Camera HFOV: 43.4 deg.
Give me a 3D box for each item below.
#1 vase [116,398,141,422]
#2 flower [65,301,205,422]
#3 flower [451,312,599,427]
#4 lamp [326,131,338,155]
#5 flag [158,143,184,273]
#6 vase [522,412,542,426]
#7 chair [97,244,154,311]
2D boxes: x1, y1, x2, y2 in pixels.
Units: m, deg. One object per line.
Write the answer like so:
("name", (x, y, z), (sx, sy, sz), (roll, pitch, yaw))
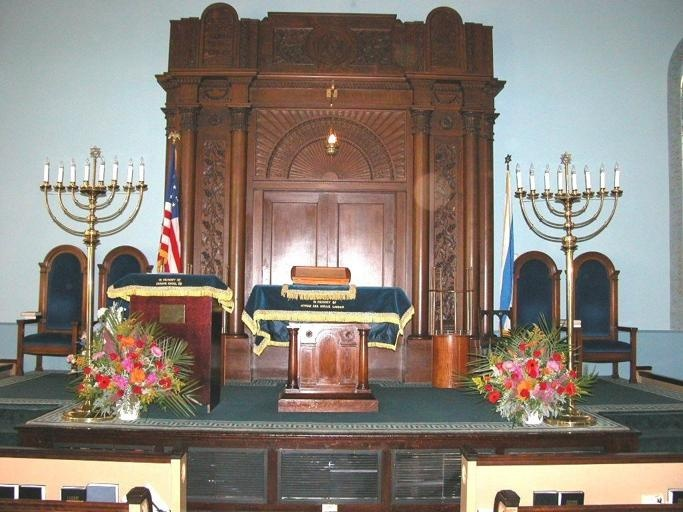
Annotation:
("vase", (-2.234, 1.606, 8.962), (0.215, 0.241, 0.412), (1, -7, 1))
("flower", (-2.209, 1.307, 9.324), (1.140, 1.300, 1.181), (1, -19, -4))
("flower", (2.062, 1.264, 9.113), (0.944, 0.841, 0.793), (0, -35, 37))
("lamp", (-0.125, -1.445, 10.742), (0.119, 0.323, 0.278), (0, -3, -3))
("flag", (-2.181, -0.654, 10.933), (0.296, 1.780, 1.241), (0, -3, -10))
("vase", (2.019, 1.682, 8.980), (0.147, 0.119, 0.151), (1, -3, -39))
("chair", (-2.931, 0.266, 11.547), (0.686, 0.806, 0.347), (1, -3, -18))
